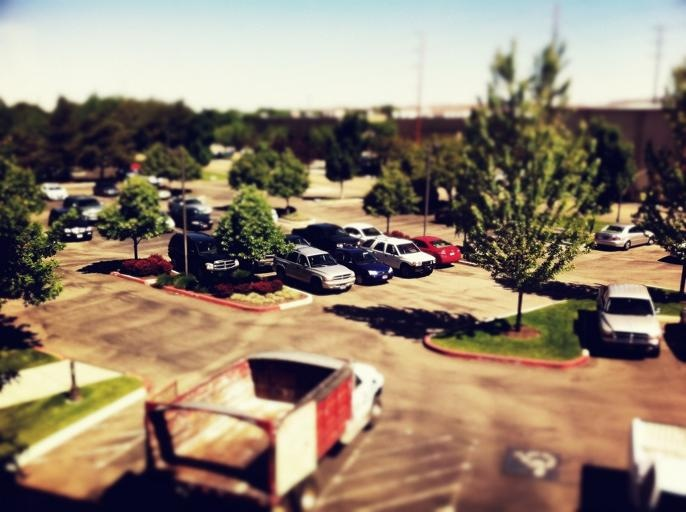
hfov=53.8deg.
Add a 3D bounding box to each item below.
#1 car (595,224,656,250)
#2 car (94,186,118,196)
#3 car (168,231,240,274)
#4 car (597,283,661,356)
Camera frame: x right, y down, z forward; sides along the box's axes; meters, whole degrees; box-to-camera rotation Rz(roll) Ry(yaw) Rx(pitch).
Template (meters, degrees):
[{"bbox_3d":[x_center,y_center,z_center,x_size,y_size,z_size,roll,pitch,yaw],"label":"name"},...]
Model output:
[{"bbox_3d":[16.823,-1.102,40.479,3.044,1.448,1.382,-6,10,-15],"label":"car"},{"bbox_3d":[-21.709,-5.834,61.874,2.441,0.815,0.932,0,10,19],"label":"car"},{"bbox_3d":[-6.840,-0.177,32.508,3.758,1.903,1.901,5,12,41],"label":"car"},{"bbox_3d":[10.351,2.334,24.580,1.931,1.655,2.021,0,10,18],"label":"car"}]
